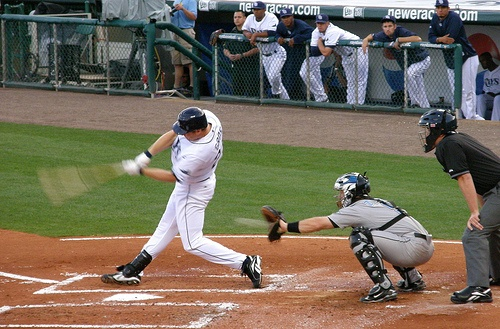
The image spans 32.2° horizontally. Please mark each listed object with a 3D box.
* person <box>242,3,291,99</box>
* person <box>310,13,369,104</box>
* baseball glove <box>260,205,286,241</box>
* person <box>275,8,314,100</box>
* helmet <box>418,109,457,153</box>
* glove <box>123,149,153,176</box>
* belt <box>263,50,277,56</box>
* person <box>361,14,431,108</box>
[{"bbox_3d":[0.366,-2.504,19.083,1.106,1.887,0.648,1,-3,15],"label":"person"},{"bbox_3d":[1.929,-2.175,18.418,1.366,1.759,0.714,-3,3,-25],"label":"person"},{"bbox_3d":[0.263,0.752,11.058,0.450,0.409,0.276,-2,-3,31],"label":"baseball glove"},{"bbox_3d":[0.949,-2.375,18.806,0.766,1.898,0.930,0,4,-5],"label":"person"},{"bbox_3d":[2.314,-0.432,10.734,0.645,0.526,0.484,-1,5,4],"label":"helmet"},{"bbox_3d":[-1.451,-0.015,11.187,0.366,0.168,0.273,-37,9,-1],"label":"glove"},{"bbox_3d":[0.437,-2.425,18.951,0.344,0.109,0.042,3,5,36],"label":"belt"},{"bbox_3d":[3.079,-2.112,17.812,1.242,1.853,0.563,1,4,8],"label":"person"}]
